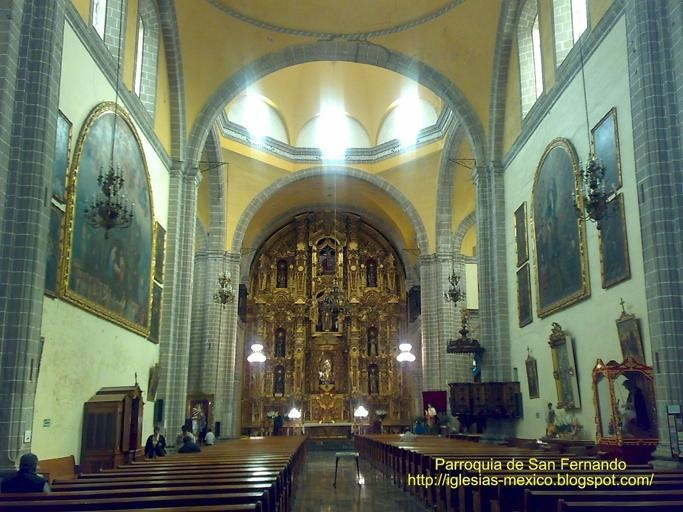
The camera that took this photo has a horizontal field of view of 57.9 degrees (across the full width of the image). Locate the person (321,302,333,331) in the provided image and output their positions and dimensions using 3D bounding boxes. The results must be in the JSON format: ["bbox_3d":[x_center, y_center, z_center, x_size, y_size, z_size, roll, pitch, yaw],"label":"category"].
[{"bbox_3d":[-0.716,3.132,31.788,0.585,1.319,0.313,0,-17,-3],"label":"person"}]

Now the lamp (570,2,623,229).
[{"bbox_3d":[4.722,-2.416,11.801,0.827,4.521,2.252,-8,-18,23],"label":"lamp"}]

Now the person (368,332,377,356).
[{"bbox_3d":[1.611,4.335,31.282,0.462,1.396,0.280,9,-19,-31],"label":"person"}]
